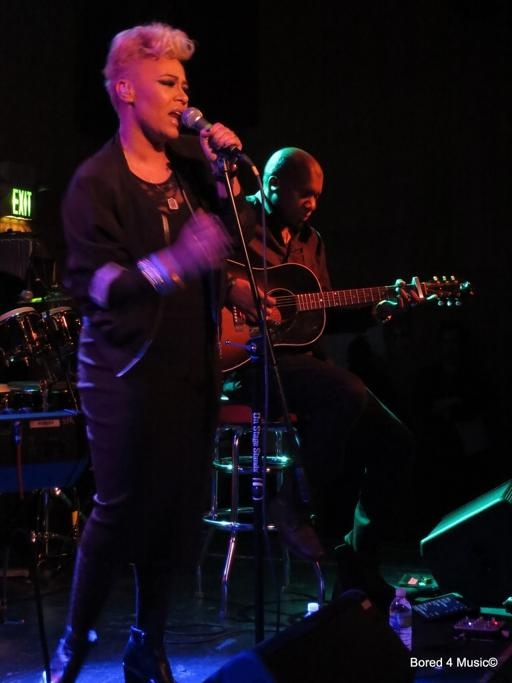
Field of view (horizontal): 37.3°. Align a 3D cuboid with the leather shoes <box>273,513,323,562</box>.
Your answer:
[{"bbox_3d":[0.140,0.605,2.327,0.093,0.122,0.165,2,3,-35],"label":"leather shoes"}]

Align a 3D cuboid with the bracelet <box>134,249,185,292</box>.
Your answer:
[{"bbox_3d":[-0.208,-0.154,1.685,0.075,0.091,0.092,-22,16,0],"label":"bracelet"}]

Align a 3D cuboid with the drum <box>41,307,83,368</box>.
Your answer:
[{"bbox_3d":[-0.994,-0.029,3.892,0.206,0.260,0.240,-7,-6,-39],"label":"drum"}]
